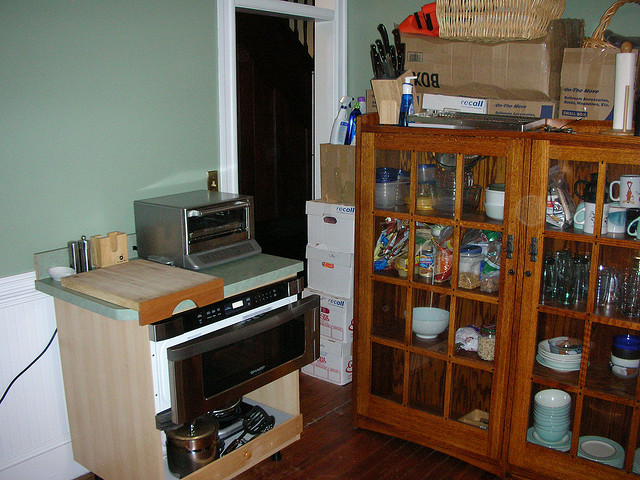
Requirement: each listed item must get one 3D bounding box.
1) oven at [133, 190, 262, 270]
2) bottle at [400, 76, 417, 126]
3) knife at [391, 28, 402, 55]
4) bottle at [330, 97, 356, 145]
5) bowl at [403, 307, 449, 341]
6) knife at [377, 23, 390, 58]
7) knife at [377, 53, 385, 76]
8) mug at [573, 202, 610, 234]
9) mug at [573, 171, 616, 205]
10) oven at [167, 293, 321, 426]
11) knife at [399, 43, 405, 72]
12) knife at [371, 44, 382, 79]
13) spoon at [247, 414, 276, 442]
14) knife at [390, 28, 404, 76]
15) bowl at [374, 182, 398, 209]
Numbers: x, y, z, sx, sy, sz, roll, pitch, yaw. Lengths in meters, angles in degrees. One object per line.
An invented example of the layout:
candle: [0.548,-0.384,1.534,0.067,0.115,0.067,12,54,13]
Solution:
oven: [-0.634,-0.057,2.795,0.471,0.338,0.467,11,17,38]
bottle: [0.460,-0.720,2.750,0.060,0.240,0.112,10,17,43]
knife: [0.400,-1.042,2.780,0.039,0.152,0.035,16,25,42]
bottle: [0.157,-0.781,3.484,0.128,0.288,0.316,3,14,22]
bowl: [0.582,0.436,2.880,0.269,0.165,0.277,8,-24,4]
knife: [0.331,-1.040,2.754,0.046,0.020,0.214,-18,-32,9]
knife: [0.321,-0.924,2.811,0.029,0.115,0.010,3,23,37]
mug: [1.207,-0.097,2.389,0.139,0.142,0.086,1,-2,29]
mug: [1.202,-0.229,2.368,0.142,0.130,0.096,5,5,25]
oven: [-0.442,0.488,2.683,0.852,0.417,0.546,-16,25,-41]
knife: [0.435,-0.958,2.803,0.025,0.140,0.088,2,13,16]
knife: [0.306,-0.948,2.839,0.042,0.190,0.016,1,20,30]
spoon: [-0.298,0.938,2.657,0.238,0.028,0.042,-32,-5,-40]
knife: [0.405,-0.988,2.795,0.049,0.259,0.014,-8,21,-6]
bowl: [0.344,-0.235,2.752,0.124,0.125,0.116,1,11,0]
